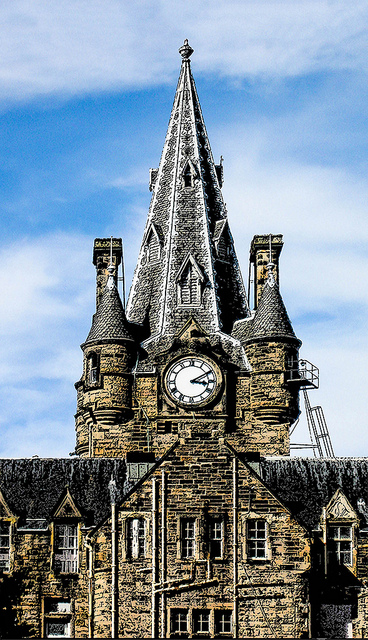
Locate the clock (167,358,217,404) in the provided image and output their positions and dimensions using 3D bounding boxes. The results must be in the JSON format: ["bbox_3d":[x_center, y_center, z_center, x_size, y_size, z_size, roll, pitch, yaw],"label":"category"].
[{"bbox_3d":[0.322,2.393,75.799,1.988,1.926,0.529,0,-13,-9],"label":"clock"}]

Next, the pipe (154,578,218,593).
[{"bbox_3d":[0.028,8.899,63.886,1.468,0.187,0.208,-10,-26,-15],"label":"pipe"}]
